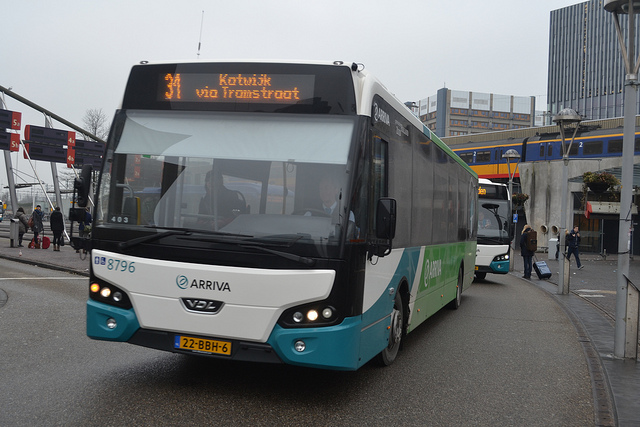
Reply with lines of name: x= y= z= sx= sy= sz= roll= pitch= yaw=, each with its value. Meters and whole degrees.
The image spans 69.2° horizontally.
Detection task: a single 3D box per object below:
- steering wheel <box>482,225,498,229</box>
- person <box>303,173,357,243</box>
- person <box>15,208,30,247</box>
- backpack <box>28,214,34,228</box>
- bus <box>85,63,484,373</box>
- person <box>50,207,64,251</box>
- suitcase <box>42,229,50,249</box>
steering wheel: x=6.864 y=0.567 z=18.641 sx=0.421 sy=0.153 sz=0.107 roll=3 pitch=0 yaw=25
person: x=0.118 y=-0.017 z=5.317 sx=0.656 sy=1.002 sz=0.314 roll=-1 pitch=-9 yaw=14
person: x=-16.149 y=0.804 z=25.016 sx=0.610 sy=1.919 sz=1.394 roll=2 pitch=0 yaw=-34
backpack: x=-15.559 y=0.495 z=24.766 sx=0.179 sy=0.668 sz=0.448 roll=5 pitch=13 yaw=-11
bus: x=-0.504 y=0.207 z=5.951 sx=4.490 sy=3.713 sz=2.158 roll=3 pitch=0 yaw=-26
person: x=-13.406 y=0.843 z=23.584 sx=0.594 sy=2.042 sz=0.754 roll=2 pitch=0 yaw=-30
suitcase: x=-14.337 y=1.578 z=24.165 sx=0.319 sy=0.822 sz=0.274 roll=2 pitch=0 yaw=45
